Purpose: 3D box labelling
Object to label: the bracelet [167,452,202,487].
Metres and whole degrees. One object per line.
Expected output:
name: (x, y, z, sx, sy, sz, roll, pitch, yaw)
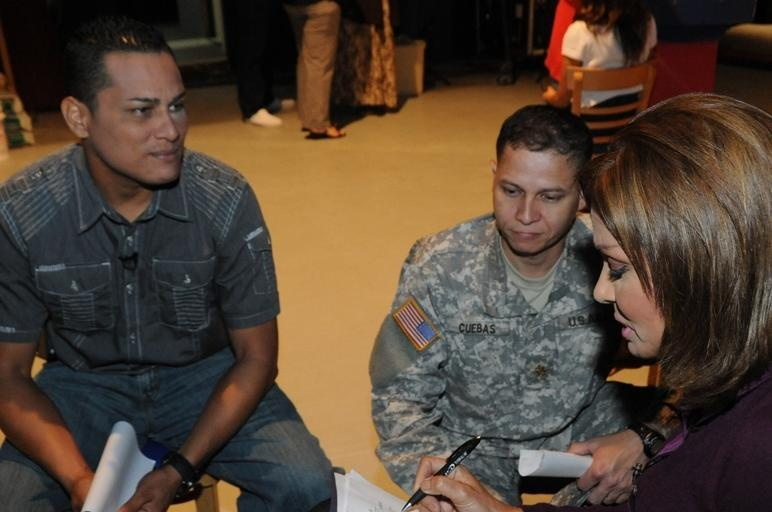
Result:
bracelet: (-0.721, 0.751, 2.360, 0.049, 0.103, 0.103, -46, 32, -22)
